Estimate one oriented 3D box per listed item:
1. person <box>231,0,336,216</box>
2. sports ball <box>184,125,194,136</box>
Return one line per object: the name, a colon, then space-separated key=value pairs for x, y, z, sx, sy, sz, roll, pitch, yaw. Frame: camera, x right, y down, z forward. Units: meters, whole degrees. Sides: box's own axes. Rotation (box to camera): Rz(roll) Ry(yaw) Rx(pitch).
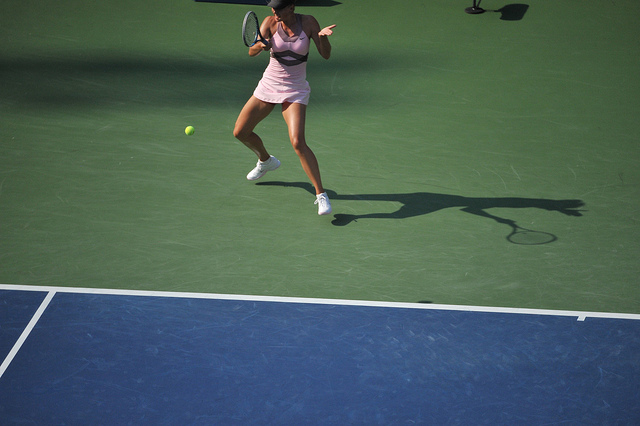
person: x=-0.414 y=-1.108 z=7.053 sx=0.845 sy=2.260 sz=1.076 roll=-7 pitch=23 yaw=-27
sports ball: x=-1.574 y=-1.005 z=7.982 sx=0.124 sy=0.107 sz=0.108 roll=7 pitch=36 yaw=-35
